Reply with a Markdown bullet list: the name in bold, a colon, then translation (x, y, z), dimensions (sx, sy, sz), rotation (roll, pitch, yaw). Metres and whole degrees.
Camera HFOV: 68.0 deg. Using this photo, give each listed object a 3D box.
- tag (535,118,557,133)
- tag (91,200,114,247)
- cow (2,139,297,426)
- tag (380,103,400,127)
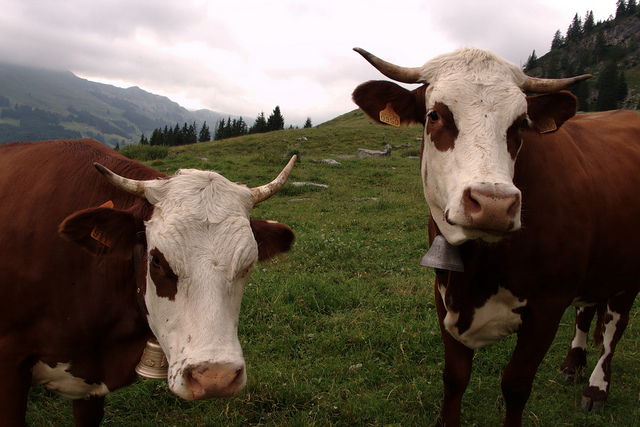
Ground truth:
- **tag**: translation (2.475, -0.954, 5.145), dimensions (0.162, 0.168, 0.039), rotation (10, -4, 18)
- **tag**: translation (-2.159, 0.104, 4.747), dimensions (0.127, 0.369, 0.264), rotation (20, -1, 19)
- **cow**: translation (-2.076, 0.751, 4.841), dimensions (2.775, 2.680, 1.314), rotation (4, 14, 12)
- **tag**: translation (0.819, -1.157, 5.540), dimensions (0.229, 0.266, 0.020), rotation (13, -13, 1)
